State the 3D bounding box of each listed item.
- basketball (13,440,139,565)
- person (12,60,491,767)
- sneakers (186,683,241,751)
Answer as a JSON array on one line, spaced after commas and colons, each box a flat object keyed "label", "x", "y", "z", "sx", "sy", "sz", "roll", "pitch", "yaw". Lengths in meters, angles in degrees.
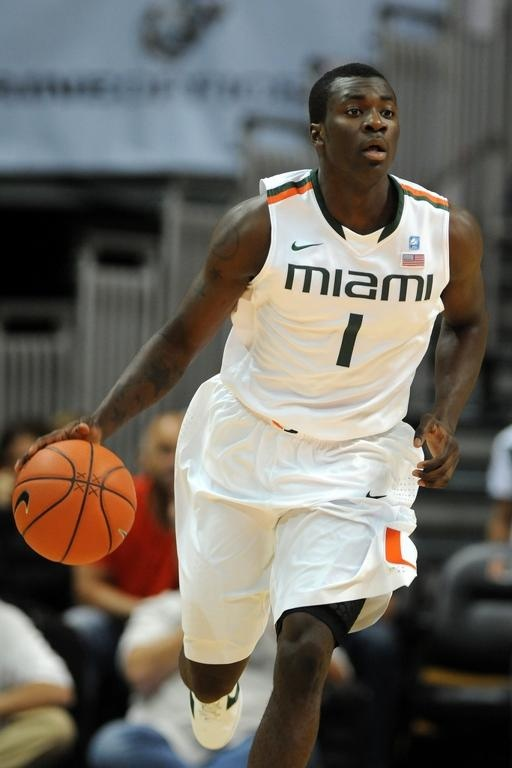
[{"label": "basketball", "x": -0.464, "y": 0.309, "z": 2.647, "sx": 0.296, "sy": 0.302, "sz": 0.145, "roll": 0, "pitch": 7, "yaw": -11}, {"label": "person", "x": 0.119, "y": 0.282, "z": 2.767, "sx": 0.804, "sy": 1.770, "sz": 0.948, "roll": 8, "pitch": 9, "yaw": 44}, {"label": "sneakers", "x": -0.126, "y": 0.962, "z": 3.093, "sx": 0.145, "sy": 0.232, "sz": 0.070, "roll": 13, "pitch": 50, "yaw": 10}]
